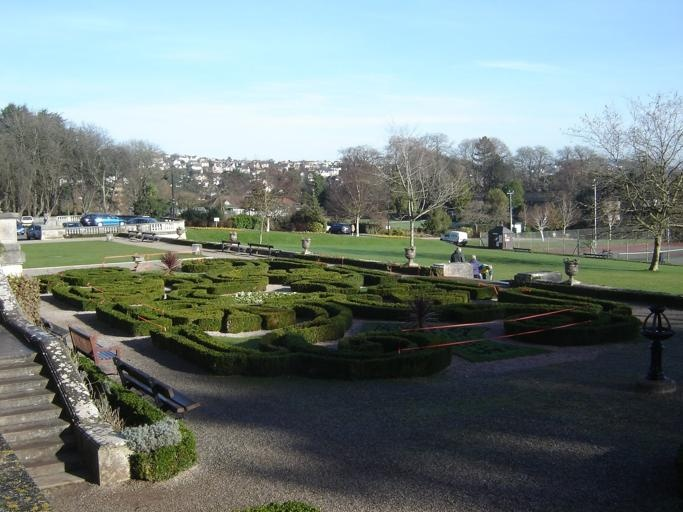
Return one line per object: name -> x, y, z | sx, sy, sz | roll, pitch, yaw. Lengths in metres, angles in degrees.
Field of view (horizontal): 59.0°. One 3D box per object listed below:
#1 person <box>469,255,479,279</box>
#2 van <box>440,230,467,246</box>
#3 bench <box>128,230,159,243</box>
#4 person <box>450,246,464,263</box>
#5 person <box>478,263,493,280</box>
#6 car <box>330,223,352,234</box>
person -> 6.273, 0.479, 28.507 | 0.438, 0.997, 1.533 | 1, 5, 12
van -> 11.506, -1.787, 61.583 | 1.543, 1.185, 2.549 | -3, 9, -40
bench -> -15.396, -1.470, 46.619 | 1.743, 0.531, 3.385 | -3, 6, -30
person -> 6.237, -0.071, 33.052 | 0.706, 0.991, 0.913 | -5, 13, 8
person -> 6.917, 0.837, 28.903 | 0.666, 0.380, 0.844 | 4, 15, 6
car -> -0.220, -3.130, 70.502 | 1.226, 0.815, 2.489 | -3, 9, -30
